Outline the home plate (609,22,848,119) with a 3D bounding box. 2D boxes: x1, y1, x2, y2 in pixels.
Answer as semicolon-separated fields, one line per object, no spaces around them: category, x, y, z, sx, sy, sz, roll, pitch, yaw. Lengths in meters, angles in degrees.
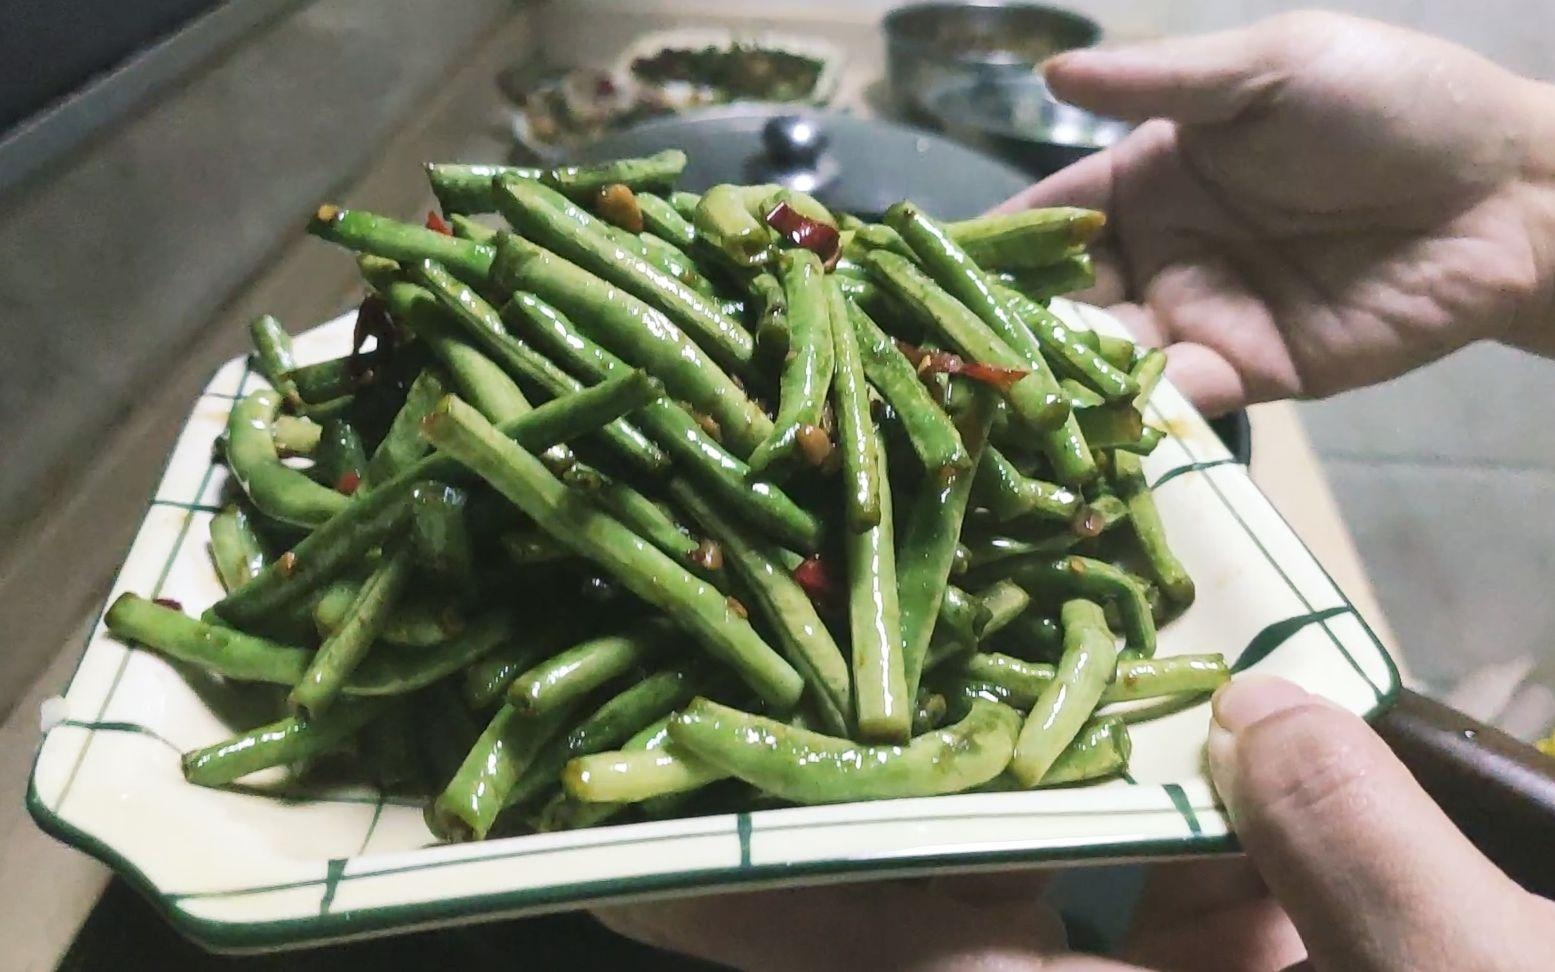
home plate;-0.147;-1.289;4.701;0.501;0.316;0.076;6;21;-10
